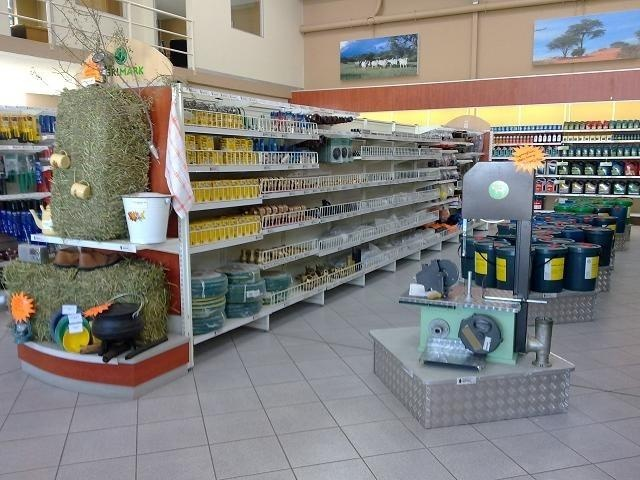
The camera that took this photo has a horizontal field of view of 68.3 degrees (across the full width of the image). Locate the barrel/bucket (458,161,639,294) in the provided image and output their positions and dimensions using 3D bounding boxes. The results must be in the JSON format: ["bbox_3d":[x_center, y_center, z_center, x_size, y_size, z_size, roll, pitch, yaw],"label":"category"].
[{"bbox_3d":[1.919,-0.070,4.375,1.481,1.308,2.183,6,11,37],"label":"barrel/bucket"}]

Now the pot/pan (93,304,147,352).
[{"bbox_3d":[-1.580,0.688,3.749,0.450,0.314,0.443,-3,-1,-17],"label":"pot/pan"}]

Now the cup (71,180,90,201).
[{"bbox_3d":[-1.923,-0.397,3.764,0.205,0.142,0.086,7,15,29],"label":"cup"}]

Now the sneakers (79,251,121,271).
[{"bbox_3d":[-1.832,0.163,3.895,0.261,0.134,0.212,2,13,9],"label":"sneakers"}]

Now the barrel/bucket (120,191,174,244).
[{"bbox_3d":[-1.382,-0.165,3.875,0.451,0.379,0.402,2,2,37],"label":"barrel/bucket"}]

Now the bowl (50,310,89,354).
[{"bbox_3d":[-1.979,0.705,3.750,0.323,0.354,0.159,-1,14,-12],"label":"bowl"}]
